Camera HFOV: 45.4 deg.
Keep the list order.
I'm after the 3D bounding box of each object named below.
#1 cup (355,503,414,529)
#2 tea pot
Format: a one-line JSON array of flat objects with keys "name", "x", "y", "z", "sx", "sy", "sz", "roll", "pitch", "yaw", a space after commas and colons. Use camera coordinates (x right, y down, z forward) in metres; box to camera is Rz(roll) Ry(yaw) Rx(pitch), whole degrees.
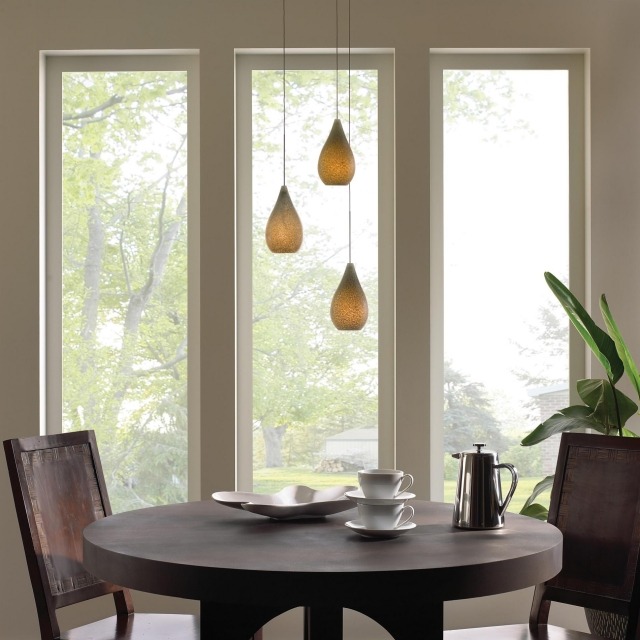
[{"name": "cup", "x": 0.146, "y": 0.441, "z": 1.772, "sx": 0.124, "sy": 0.051, "sz": 0.091, "roll": 0, "pitch": -8, "yaw": 8}, {"name": "tea pot", "x": 0.412, "y": 0.403, "z": 1.872, "sx": 0.141, "sy": 0.206, "sz": 0.190, "roll": -3, "pitch": 4, "yaw": -29}]
